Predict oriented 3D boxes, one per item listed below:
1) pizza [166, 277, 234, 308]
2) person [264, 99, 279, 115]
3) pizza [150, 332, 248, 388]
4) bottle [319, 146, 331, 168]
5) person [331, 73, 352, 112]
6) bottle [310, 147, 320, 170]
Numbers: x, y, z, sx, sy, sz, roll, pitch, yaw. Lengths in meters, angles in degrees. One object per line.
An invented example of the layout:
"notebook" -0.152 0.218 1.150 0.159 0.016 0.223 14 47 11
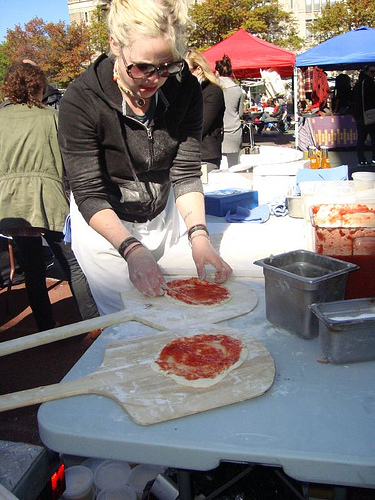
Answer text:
"pizza" 0.038 0.162 1.582 0.261 0.028 0.281 2 21 3
"person" 3.424 -5.804 16.905 0.796 0.348 0.981 0 39 11
"pizza" 0.036 0.286 1.087 0.244 0.033 0.301 9 16 26
"bottle" 1.142 -0.773 3.408 0.079 0.171 0.303 2 14 17
"person" 4.640 -4.761 12.335 0.569 1.244 1.345 3 14 19
"bottle" 1.055 -0.760 3.381 0.080 0.168 0.398 2 13 16
